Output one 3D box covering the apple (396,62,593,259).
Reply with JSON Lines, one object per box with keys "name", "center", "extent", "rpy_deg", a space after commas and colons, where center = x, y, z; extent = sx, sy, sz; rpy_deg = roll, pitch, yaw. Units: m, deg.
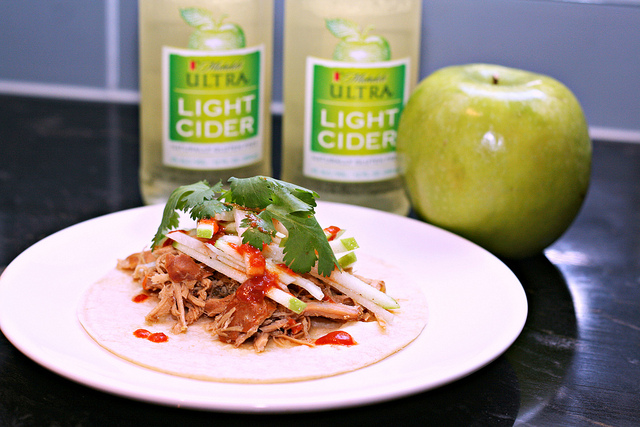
{"name": "apple", "center": [0.388, -0.118, 1.200], "extent": [0.408, 0.373, 0.406], "rpy_deg": [7, -5, -1]}
